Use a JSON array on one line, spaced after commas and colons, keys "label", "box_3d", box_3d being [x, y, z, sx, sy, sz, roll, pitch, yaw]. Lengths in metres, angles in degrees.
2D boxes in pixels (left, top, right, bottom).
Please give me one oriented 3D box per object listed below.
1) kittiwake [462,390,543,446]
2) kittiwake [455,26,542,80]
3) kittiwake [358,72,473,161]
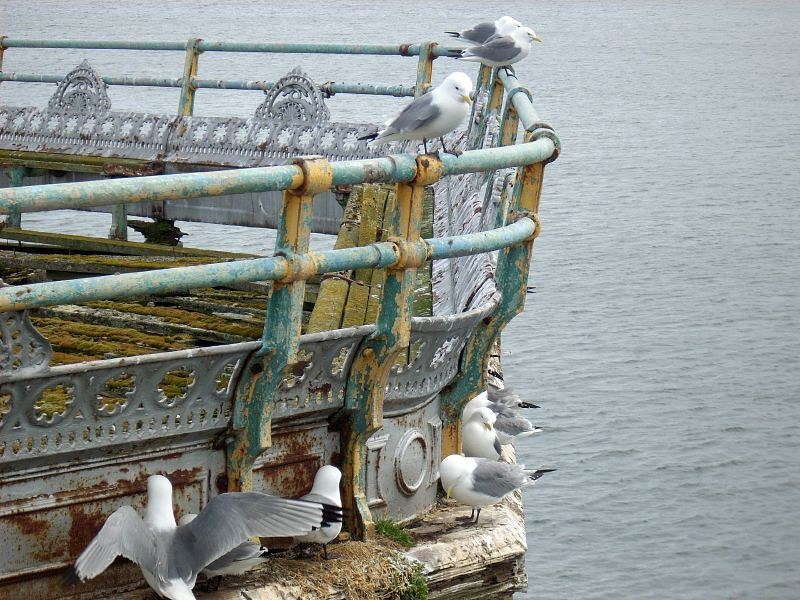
[{"label": "kittiwake", "box_3d": [0.803, 0.860, 13.819, 0.309, 0.196, 0.406, -15, -12, -11]}, {"label": "kittiwake", "box_3d": [0.801, -2.125, 15.108, 0.651, 0.363, 0.316, 0, 24, -11]}, {"label": "kittiwake", "box_3d": [0.151, -1.352, 13.149, 0.955, 0.550, 0.430, 4, 12, 34]}]
